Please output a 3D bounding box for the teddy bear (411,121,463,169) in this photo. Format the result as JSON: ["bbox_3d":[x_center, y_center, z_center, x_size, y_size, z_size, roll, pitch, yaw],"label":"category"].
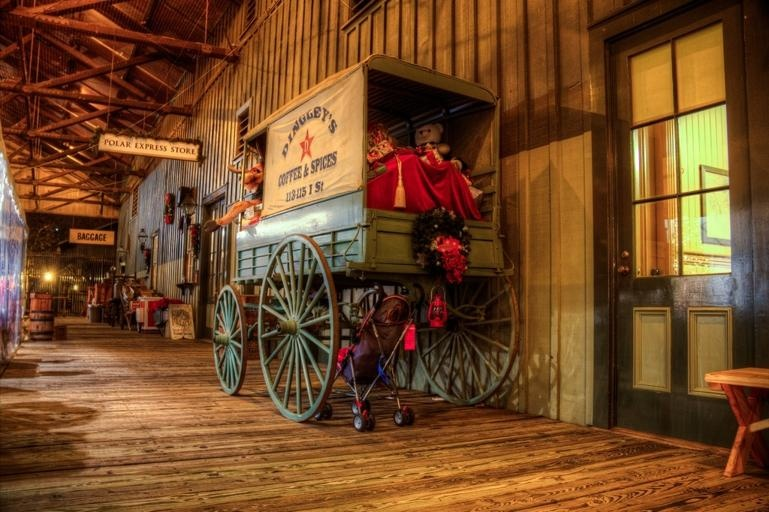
[{"bbox_3d":[0.616,-1.227,7.233,0.551,0.566,0.883,1,5,2],"label":"teddy bear"}]

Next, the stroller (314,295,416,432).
[{"bbox_3d":[-0.177,0.970,6.429,0.829,1.250,1.077,0,5,-12],"label":"stroller"}]

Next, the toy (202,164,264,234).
[{"bbox_3d":[-1.711,-0.730,7.978,0.813,0.812,0.553,3,5,20],"label":"toy"}]

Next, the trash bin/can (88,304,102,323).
[{"bbox_3d":[-8.982,1.779,20.172,0.503,0.624,0.438,4,-4,-34],"label":"trash bin/can"}]

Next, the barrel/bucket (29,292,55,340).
[{"bbox_3d":[-6.672,1.162,12.671,0.479,0.905,0.464,-1,-2,0],"label":"barrel/bucket"}]

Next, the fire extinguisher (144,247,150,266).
[{"bbox_3d":[-7.641,0.029,21.113,0.283,0.562,0.192,-1,2,38],"label":"fire extinguisher"}]
